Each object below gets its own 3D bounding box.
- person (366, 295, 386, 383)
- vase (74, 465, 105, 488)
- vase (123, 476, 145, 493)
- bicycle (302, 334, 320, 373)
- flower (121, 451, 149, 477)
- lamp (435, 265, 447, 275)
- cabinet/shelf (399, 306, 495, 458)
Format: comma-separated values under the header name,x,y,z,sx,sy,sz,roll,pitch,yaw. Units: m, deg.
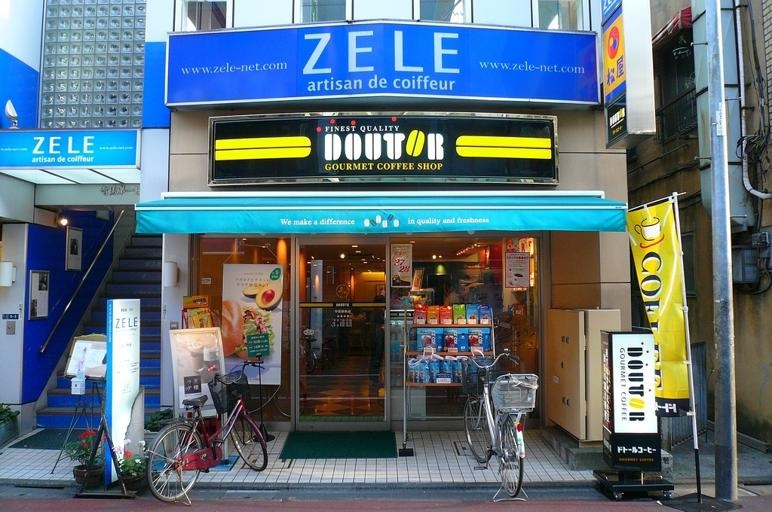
name,x,y,z,sx,sy,sz,roll,pitch,yaw
person,-0.181,1.852,13.555,0.328,1.536,0.095,-1,-4,0
vase,-5.093,3.769,11.311,0.463,0.384,0.347,-4,-5,36
vase,-4.239,3.852,11.188,0.287,0.220,0.315,2,-12,-2
bicycle,-1.515,1.909,13.575,0.456,0.587,0.938,-6,-30,-12
flower,-4.308,3.550,11.309,0.389,0.432,0.292,-1,-4,-13
lamp,1.137,0.308,13.664,0.184,0.238,0.073,0,-27,-1
cabinet/shelf,1.190,2.380,13.285,1.871,2.687,0.905,1,-8,-5
